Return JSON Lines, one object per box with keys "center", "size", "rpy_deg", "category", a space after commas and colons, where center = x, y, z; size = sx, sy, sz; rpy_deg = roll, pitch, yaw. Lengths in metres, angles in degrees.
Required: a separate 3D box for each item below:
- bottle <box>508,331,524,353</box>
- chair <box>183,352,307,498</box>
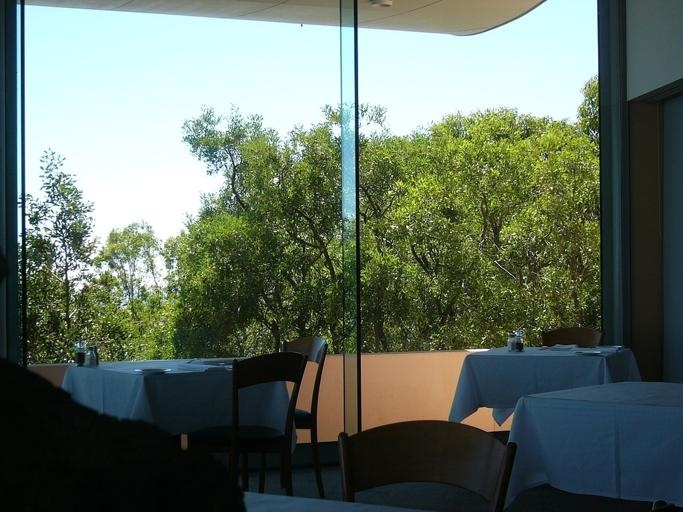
{"center": [1.286, 0.636, 5.532], "size": [0.111, 0.226, 0.134], "rpy_deg": [0, -2, -9], "category": "bottle"}
{"center": [-0.565, 1.052, 4.585], "size": [0.584, 0.928, 0.666], "rpy_deg": [-1, -3, 28], "category": "chair"}
